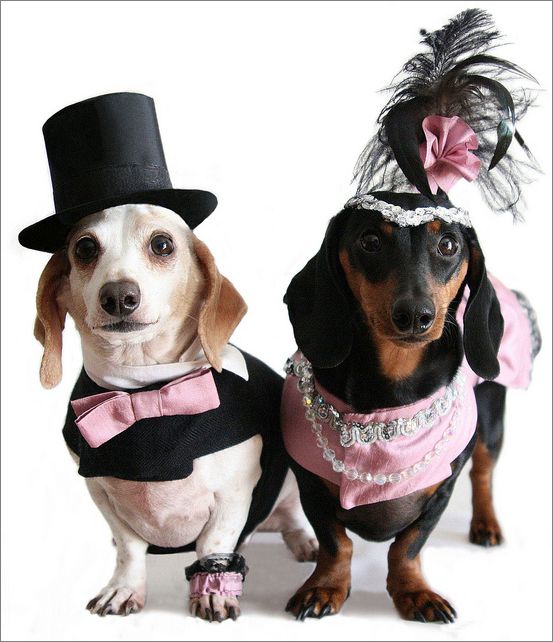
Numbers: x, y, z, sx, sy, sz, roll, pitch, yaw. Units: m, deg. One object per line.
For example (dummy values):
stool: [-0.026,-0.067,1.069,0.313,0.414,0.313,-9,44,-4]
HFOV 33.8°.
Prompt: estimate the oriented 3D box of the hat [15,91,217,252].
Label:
hat: [-0.613,-0.553,3.450,0.764,0.614,0.468,-2,13,-6]

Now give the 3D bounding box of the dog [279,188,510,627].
dog: [0.464,0.537,4.308,1.011,1.516,2.884,2,-8,8]

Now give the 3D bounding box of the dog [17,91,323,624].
dog: [-0.439,0.126,3.753,1.169,1.887,1.505,3,5,27]
